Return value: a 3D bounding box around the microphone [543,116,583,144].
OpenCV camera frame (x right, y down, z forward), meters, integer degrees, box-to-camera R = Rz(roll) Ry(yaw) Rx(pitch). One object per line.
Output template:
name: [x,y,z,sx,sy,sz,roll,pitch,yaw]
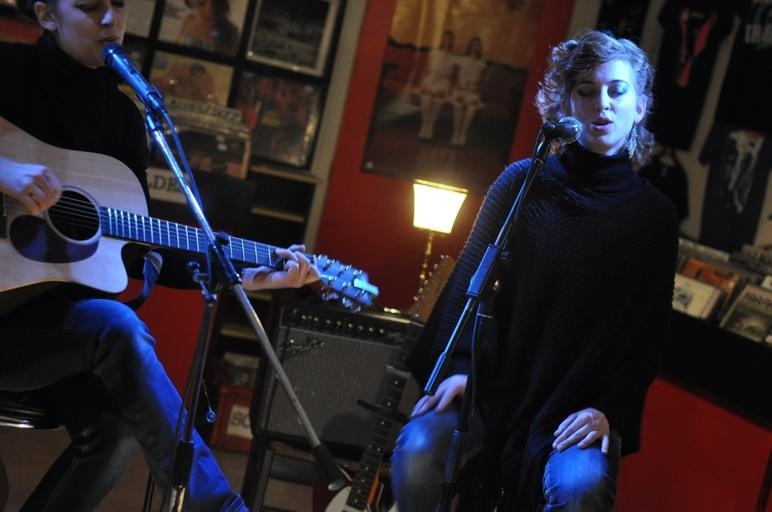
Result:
microphone: [0.724,-0.516,3.143,0.131,0.071,0.099,10,29,30]
